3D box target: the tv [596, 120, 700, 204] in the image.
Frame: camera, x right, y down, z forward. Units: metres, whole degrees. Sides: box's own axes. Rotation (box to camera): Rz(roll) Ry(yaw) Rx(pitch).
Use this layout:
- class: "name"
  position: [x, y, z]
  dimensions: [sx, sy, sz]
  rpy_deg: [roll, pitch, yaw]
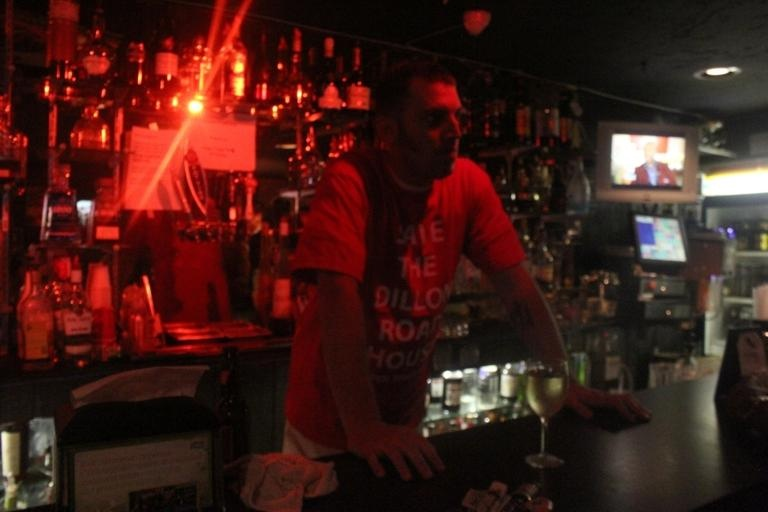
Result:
- class: "tv"
  position: [2.448, -0.853, 6.157]
  dimensions: [0.129, 0.746, 1.022]
  rpy_deg: [-14, 17, -30]
